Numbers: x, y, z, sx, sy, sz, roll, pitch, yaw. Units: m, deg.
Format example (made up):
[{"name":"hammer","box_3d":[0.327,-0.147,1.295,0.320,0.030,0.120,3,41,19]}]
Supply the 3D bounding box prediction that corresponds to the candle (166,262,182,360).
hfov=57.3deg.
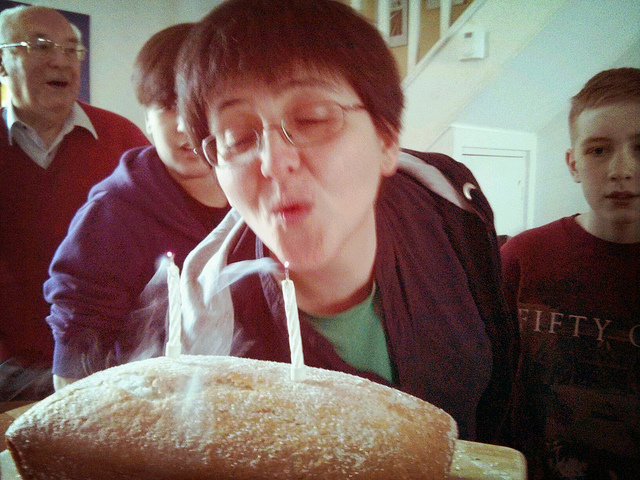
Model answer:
[{"name":"candle","box_3d":[-0.378,0.189,1.499,0.038,0.244,0.087,-2,3,-16]}]

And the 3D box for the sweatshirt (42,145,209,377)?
[{"name":"sweatshirt","box_3d":[-0.556,0.026,1.794,0.553,0.616,0.226,6,11,11]}]

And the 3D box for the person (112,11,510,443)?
[{"name":"person","box_3d":[-0.004,-0.036,1.763,1.234,1.247,0.739,-6,2,12]}]

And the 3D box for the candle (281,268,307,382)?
[{"name":"candle","box_3d":[-0.062,0.221,1.415,0.051,0.252,0.082,-1,3,8]}]

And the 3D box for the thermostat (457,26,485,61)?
[{"name":"thermostat","box_3d":[0.382,-0.497,1.492,0.067,0.072,0.041,6,6,31]}]
